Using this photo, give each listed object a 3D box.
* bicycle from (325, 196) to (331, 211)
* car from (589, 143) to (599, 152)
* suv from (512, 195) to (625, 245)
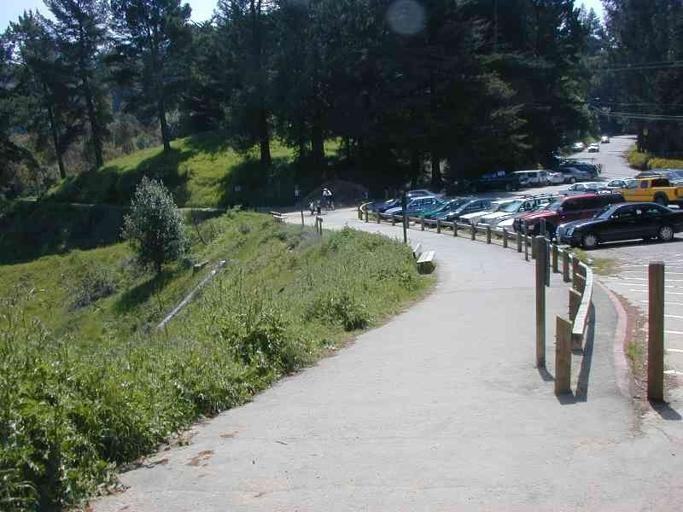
[{"bbox_3d":[-0.952,-4.080,59.317,0.435,1.126,0.964,-1,10,12],"label":"bicycle"},{"bbox_3d":[34.858,-14.870,107.084,1.100,0.701,2.052,-2,11,25],"label":"car"},{"bbox_3d":[9.970,-1.153,34.820,5.022,2.826,2.567,-5,5,-11],"label":"suv"}]
